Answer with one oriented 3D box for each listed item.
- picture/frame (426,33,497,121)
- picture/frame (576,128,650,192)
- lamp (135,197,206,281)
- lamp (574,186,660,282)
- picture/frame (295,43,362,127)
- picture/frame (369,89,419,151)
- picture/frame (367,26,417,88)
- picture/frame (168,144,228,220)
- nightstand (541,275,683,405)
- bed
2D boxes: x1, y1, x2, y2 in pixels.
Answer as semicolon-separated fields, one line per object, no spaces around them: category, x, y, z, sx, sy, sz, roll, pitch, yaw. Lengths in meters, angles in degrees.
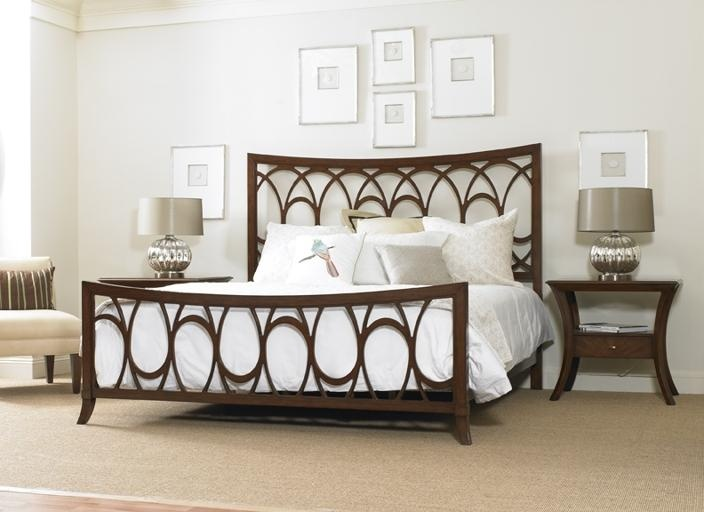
picture/frame;0.854;-1.386;4.843;0.480;0.627;0.063;0;-5;7
picture/frame;1.920;-0.688;4.598;0.456;0.490;0.039;5;33;31
lamp;-1.563;-0.129;5.062;0.571;0.708;0.580;0;0;-37
lamp;1.766;-0.132;4.466;0.579;0.703;0.593;2;-3;-12
picture/frame;-0.168;-1.375;5.050;0.640;0.799;0.061;0;3;5
picture/frame;0.345;-1.079;4.942;0.468;0.580;0.042;0;1;14
picture/frame;0.331;-1.578;4.945;0.473;0.583;0.059;0;1;18
picture/frame;-1.260;-0.615;5.200;0.639;0.923;0.093;0;1;16
nightstand;1.726;0.521;4.418;1.015;1.008;0.768;-1;-4;19
bed;0.041;0.370;3.985;2.310;1.802;2.223;-1;-3;20
